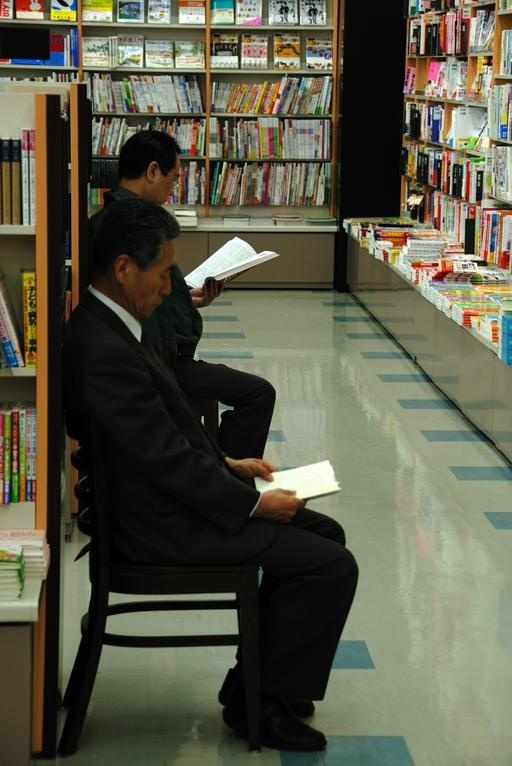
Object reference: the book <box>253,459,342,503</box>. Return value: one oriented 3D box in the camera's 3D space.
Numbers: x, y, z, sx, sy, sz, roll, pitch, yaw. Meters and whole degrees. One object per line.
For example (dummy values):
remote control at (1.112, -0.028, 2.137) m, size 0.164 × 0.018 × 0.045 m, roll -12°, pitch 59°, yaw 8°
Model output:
book at (0.115, 0.246, 1.591) m, size 0.125 × 0.036 × 0.128 m, roll -6°, pitch 19°, yaw -13°

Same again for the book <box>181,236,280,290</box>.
book at (-0.124, -0.531, 2.837) m, size 0.298 × 0.112 × 0.303 m, roll 13°, pitch 44°, yaw 45°

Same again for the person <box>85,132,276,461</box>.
person at (-0.312, -0.231, 2.913) m, size 0.778 × 1.700 × 0.665 m, roll 0°, pitch 9°, yaw -11°

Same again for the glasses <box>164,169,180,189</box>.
glasses at (-0.319, -0.754, 2.336) m, size 0.023 × 0.081 × 0.074 m, roll -8°, pitch 0°, yaw 6°

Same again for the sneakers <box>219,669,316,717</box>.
sneakers at (0.027, 0.755, 1.581) m, size 0.265 × 0.109 × 0.090 m, roll 12°, pitch 17°, yaw -6°

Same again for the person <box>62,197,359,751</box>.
person at (-0.104, 0.217, 1.406) m, size 0.613 × 1.240 × 0.415 m, roll -1°, pitch 4°, yaw -18°
